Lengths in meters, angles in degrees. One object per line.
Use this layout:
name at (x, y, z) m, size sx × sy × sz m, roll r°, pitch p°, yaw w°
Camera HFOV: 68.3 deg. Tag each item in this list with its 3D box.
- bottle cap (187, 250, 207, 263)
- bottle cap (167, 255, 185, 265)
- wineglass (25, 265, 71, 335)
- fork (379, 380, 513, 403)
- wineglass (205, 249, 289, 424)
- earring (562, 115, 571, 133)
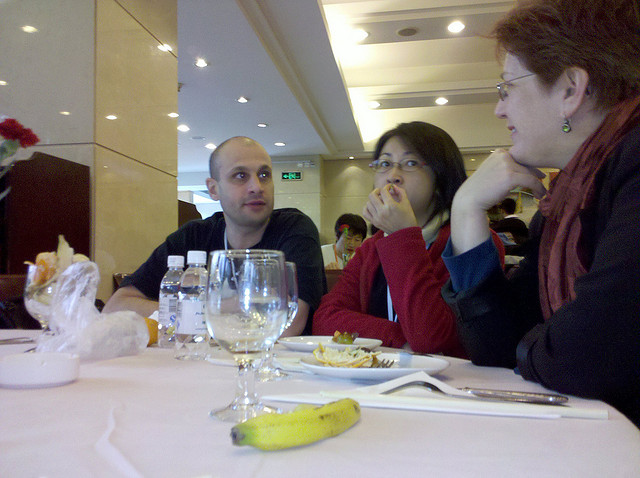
bottle cap at (-0.299, 0.044, 1.154) m, size 0.050 × 0.028 × 0.038 m, roll 0°, pitch -1°, yaw -36°
bottle cap at (-0.390, 0.054, 1.265) m, size 0.053 × 0.031 × 0.053 m, roll 1°, pitch 0°, yaw -36°
wineglass at (-0.685, 0.153, 1.184) m, size 0.087 × 0.174 × 0.177 m, roll 1°, pitch -1°, yaw -42°
fork at (0.197, 0.240, 0.740) m, size 0.196 × 0.014 × 0.059 m, roll 0°, pitch -1°, yaw 18°
wineglass at (-0.092, 0.130, 0.626) m, size 0.121 × 0.229 × 0.176 m, roll 0°, pitch -1°, yaw -14°
earring at (0.579, -0.268, 1.096) m, size 0.022 × 0.032 × 0.008 m, roll -1°, pitch 6°, yaw 11°
